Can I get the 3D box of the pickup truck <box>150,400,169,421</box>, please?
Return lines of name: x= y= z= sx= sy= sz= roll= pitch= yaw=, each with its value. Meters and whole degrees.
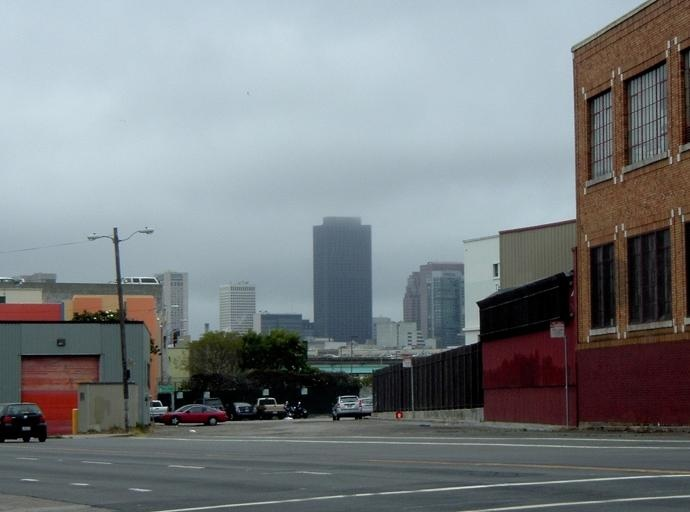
pickup truck: x=-13.473 y=11.172 z=99.568 sx=1.872 sy=1.532 sz=3.621 roll=0 pitch=-10 yaw=-7

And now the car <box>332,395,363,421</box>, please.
car: x=0.065 y=9.531 z=88.070 sx=1.768 sy=1.498 sz=1.902 roll=-2 pitch=-11 yaw=3

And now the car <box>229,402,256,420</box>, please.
car: x=-7.349 y=11.066 z=99.741 sx=1.598 sy=1.294 sz=1.998 roll=1 pitch=-11 yaw=-12

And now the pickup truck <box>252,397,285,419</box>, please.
pickup truck: x=-5.653 y=11.265 z=102.411 sx=1.142 sy=1.062 sz=2.290 roll=0 pitch=-1 yaw=-12

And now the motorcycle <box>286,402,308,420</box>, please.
motorcycle: x=-3.746 y=11.682 z=105.065 sx=1.176 sy=0.686 sz=1.442 roll=1 pitch=0 yaw=6
